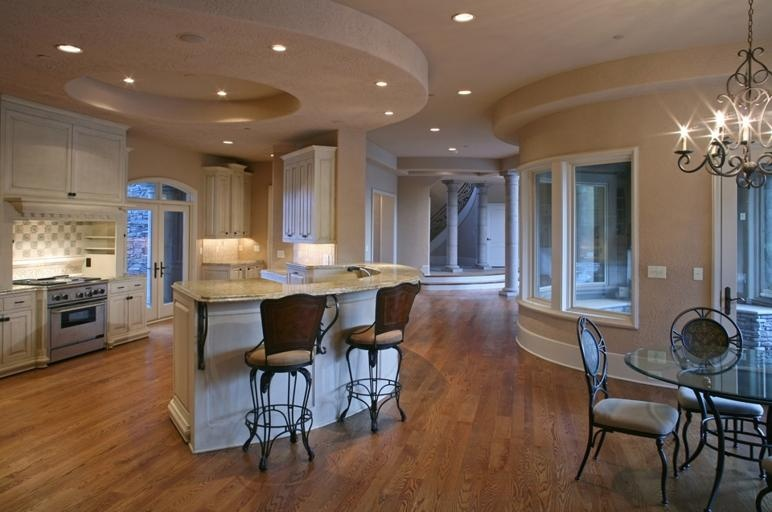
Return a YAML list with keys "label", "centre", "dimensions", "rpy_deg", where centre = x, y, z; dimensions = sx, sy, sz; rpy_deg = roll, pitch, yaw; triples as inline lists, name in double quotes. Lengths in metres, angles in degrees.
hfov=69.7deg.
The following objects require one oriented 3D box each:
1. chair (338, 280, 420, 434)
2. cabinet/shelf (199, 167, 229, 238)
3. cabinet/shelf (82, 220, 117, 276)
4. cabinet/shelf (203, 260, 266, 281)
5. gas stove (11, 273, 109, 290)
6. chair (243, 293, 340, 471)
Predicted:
- label: "chair"
  centre: [-0.008, 1.060, 6.202]
  dimensions: [0.694, 1.548, 0.880]
  rpy_deg: [0, 3, 33]
- label: "cabinet/shelf"
  centre: [-3.248, -1.023, 10.568]
  dimensions: [0.588, 1.323, 0.253]
  rpy_deg: [-3, 3, -20]
- label: "cabinet/shelf"
  centre: [-4.423, -0.114, 8.562]
  dimensions: [0.565, 0.852, 0.165]
  rpy_deg: [-1, 3, 20]
- label: "cabinet/shelf"
  centre: [-2.947, 0.263, 10.715]
  dimensions: [1.215, 0.320, 0.648]
  rpy_deg: [-3, 2, -25]
- label: "gas stove"
  centre: [-4.667, 0.357, 7.887]
  dimensions: [0.800, 0.147, 1.119]
  rpy_deg: [-1, 2, 23]
- label: "chair"
  centre: [-0.992, 1.180, 5.560]
  dimensions: [0.927, 1.656, 0.622]
  rpy_deg: [-3, 3, -21]
